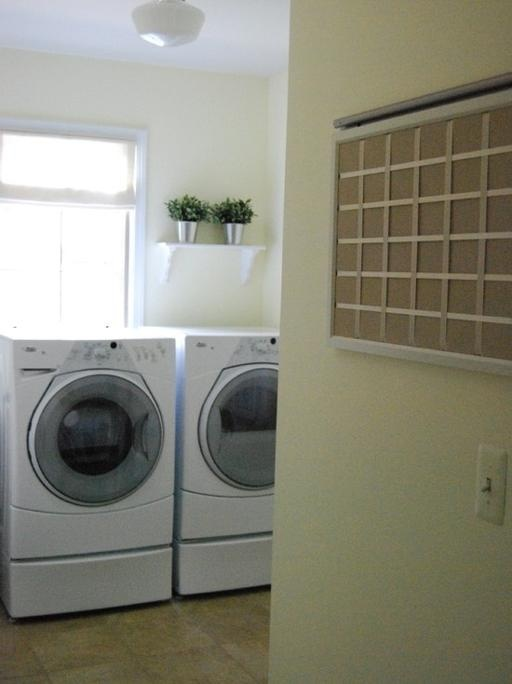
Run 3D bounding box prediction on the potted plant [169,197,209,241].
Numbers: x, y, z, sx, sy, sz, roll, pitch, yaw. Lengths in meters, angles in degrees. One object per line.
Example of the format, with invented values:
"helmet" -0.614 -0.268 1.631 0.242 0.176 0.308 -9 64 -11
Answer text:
"potted plant" -0.331 -0.577 2.625 0.193 0.239 0.149 4 3 22
